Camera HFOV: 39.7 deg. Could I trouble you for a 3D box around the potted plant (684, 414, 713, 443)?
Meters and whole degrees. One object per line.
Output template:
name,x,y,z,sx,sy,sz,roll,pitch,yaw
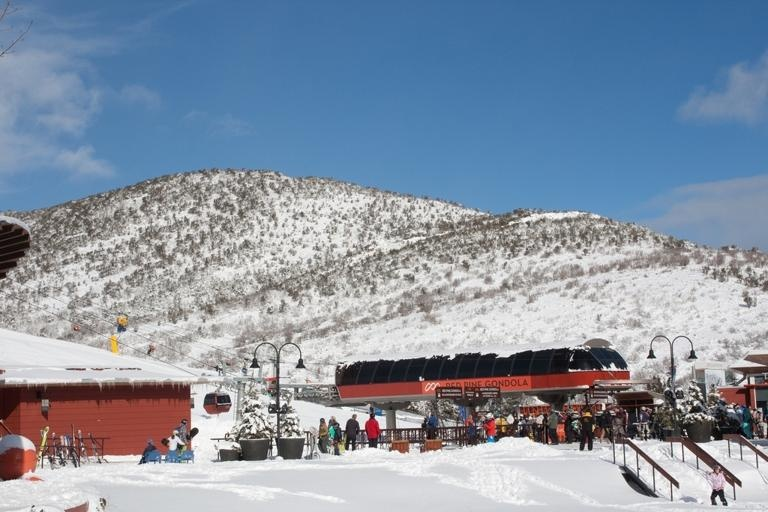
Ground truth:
potted plant,17.353,9.581,59.207,1.402,1.168,1.512,-6,-14,36

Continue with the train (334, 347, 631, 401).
train,5.557,7.512,67.559,20.728,3.142,6.197,-5,-8,31
